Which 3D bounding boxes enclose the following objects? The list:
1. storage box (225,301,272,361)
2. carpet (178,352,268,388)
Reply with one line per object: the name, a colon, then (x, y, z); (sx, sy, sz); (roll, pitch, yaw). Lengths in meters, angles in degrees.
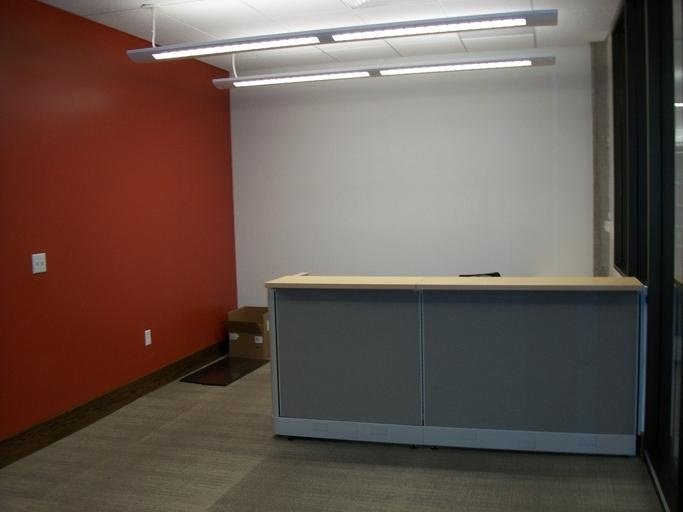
storage box: (-1.012, 0.822, 6.159); (0.594, 0.588, 0.790); (0, -2, 9)
carpet: (-1.227, 1.216, 5.634); (0.634, 0.034, 0.846); (2, 11, 26)
